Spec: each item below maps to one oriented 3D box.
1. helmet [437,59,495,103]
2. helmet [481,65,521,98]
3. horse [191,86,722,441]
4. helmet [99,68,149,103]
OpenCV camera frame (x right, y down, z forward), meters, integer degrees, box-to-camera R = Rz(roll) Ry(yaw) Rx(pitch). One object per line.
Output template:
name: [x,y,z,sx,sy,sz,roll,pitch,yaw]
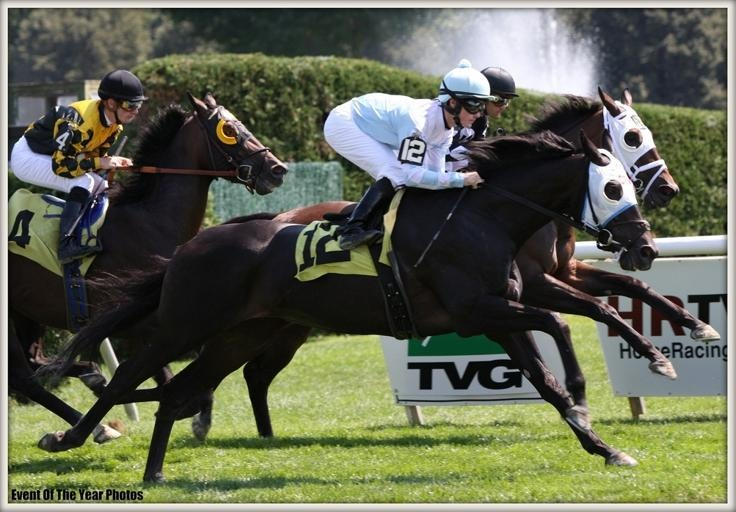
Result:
helmet: [0.755,-1.311,7.980,0.477,0.297,0.346,10,19,34]
helmet: [1.068,-1.383,8.548,0.325,0.195,0.221,31,3,0]
horse: [0.090,0.363,8.546,4.516,2.550,0.857,-2,7,8]
helmet: [-1.992,-1.401,8.716,0.436,0.195,0.296,8,20,4]
